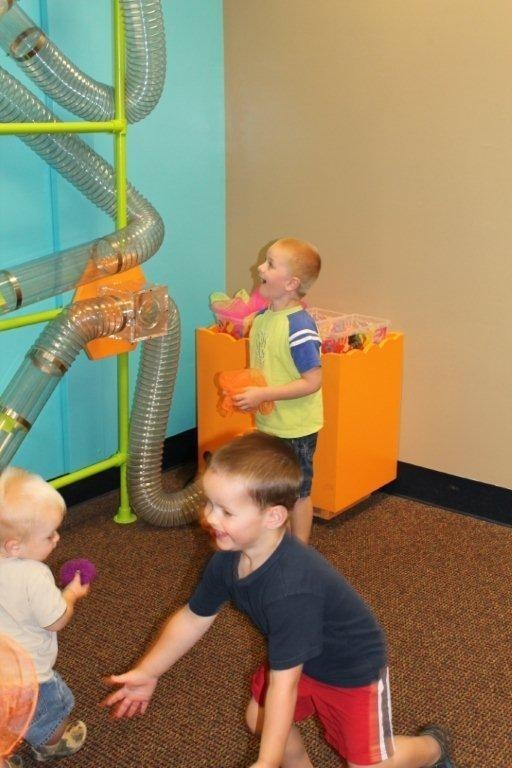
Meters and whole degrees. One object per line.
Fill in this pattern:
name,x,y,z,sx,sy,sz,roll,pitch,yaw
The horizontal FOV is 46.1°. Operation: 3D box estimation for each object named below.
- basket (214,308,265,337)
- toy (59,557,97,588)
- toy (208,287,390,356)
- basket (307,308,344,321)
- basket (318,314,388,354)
basket,-0.077,-0.213,2.149,0.101,0.100,0.112,4,18,15
toy,-0.324,0.352,1.111,0.057,0.028,0.067,4,24,3
toy,0.144,-0.226,2.135,0.502,0.225,0.291,11,21,36
basket,0.248,-0.263,2.248,0.086,0.027,0.090,-18,30,-36
basket,0.315,-0.200,2.010,0.208,0.068,0.157,-14,22,-35
